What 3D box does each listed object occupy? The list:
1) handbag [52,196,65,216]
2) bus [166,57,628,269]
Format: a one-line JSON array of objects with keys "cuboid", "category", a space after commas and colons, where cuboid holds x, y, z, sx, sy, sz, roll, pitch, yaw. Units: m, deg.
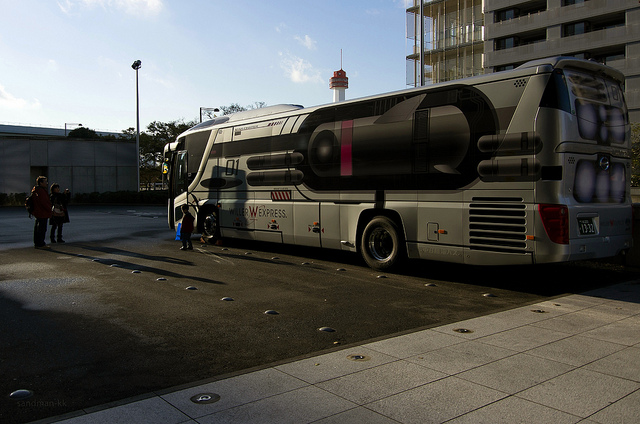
[{"cuboid": [-10.588, -0.231, 17.231, 0.435, 0.778, 0.312, -3, 4, -43], "category": "handbag"}, {"cuboid": [1.178, -1.311, 15.524, 4.040, 4.907, 16.211, 0, 3, -40], "category": "bus"}]
